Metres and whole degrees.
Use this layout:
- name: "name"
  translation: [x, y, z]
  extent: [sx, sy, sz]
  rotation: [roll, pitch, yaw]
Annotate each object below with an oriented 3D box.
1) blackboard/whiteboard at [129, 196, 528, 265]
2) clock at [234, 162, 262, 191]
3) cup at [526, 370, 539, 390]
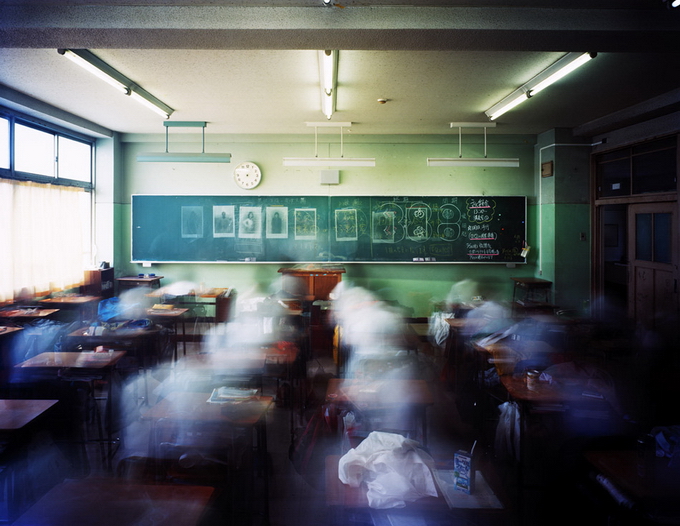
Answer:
- name: "blackboard/whiteboard"
  translation: [-0.176, -0.527, 8.202]
  extent: [5.909, 1.202, 0.145]
  rotation: [-2, 2, 1]
- name: "clock"
  translation: [-1.406, -1.345, 8.152]
  extent: [0.457, 0.438, 0.062]
  rotation: [1, 0, 2]
- name: "cup"
  translation: [1.610, 0.978, 4.463]
  extent: [0.106, 0.115, 0.201]
  rotation: [-1, 2, 20]
